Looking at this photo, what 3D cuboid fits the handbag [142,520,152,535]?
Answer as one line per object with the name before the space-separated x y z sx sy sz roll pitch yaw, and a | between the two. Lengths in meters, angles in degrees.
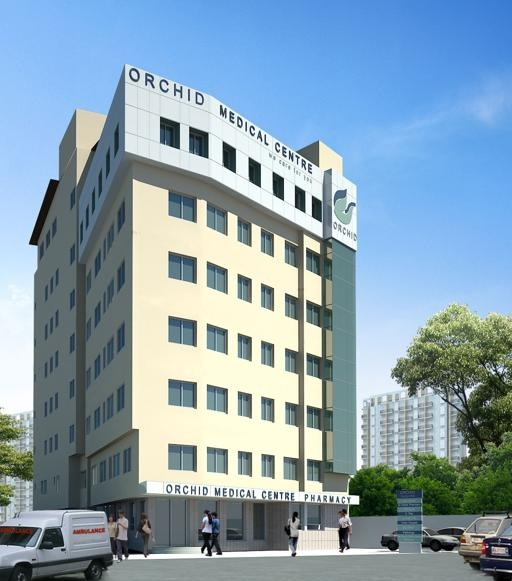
handbag | -4.403 9.696 38.551 0.209 0.554 0.586 -13 19 -26
